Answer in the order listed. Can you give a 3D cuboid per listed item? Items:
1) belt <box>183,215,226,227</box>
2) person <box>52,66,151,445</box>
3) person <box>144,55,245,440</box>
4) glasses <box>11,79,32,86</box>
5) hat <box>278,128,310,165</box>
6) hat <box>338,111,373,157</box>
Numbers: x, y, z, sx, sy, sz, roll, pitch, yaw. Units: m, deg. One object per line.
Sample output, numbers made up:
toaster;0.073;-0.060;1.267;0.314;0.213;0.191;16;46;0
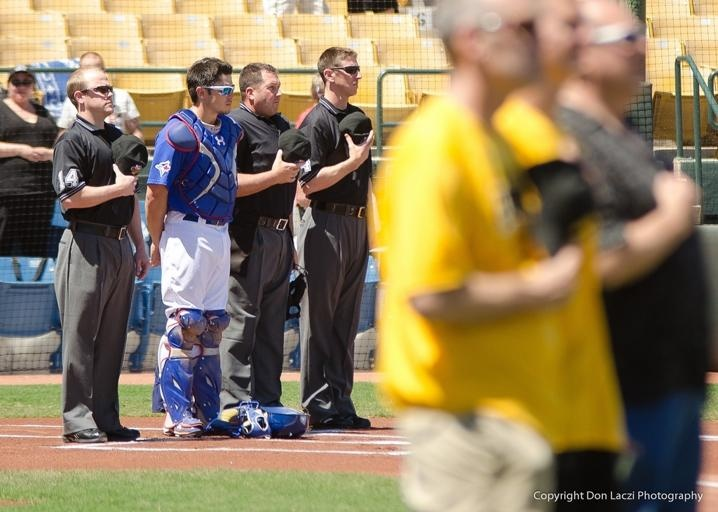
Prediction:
belt;-0.950;-0.226;6.930;0.268;0.067;0.084;0;-1;-36
person;-1.617;-0.031;6.951;0.528;2.308;0.582;0;-1;-14
person;-1.031;-0.078;7.019;0.567;2.404;0.448;0;-1;-6
glasses;-2.725;-1.411;9.094;0.162;0.058;0.067;1;-1;-43
hat;-0.404;-0.717;7.250;0.231;0.241;0.223;0;-1;-23
hat;-0.047;-0.829;7.505;0.227;0.188;0.169;-13;37;-8
